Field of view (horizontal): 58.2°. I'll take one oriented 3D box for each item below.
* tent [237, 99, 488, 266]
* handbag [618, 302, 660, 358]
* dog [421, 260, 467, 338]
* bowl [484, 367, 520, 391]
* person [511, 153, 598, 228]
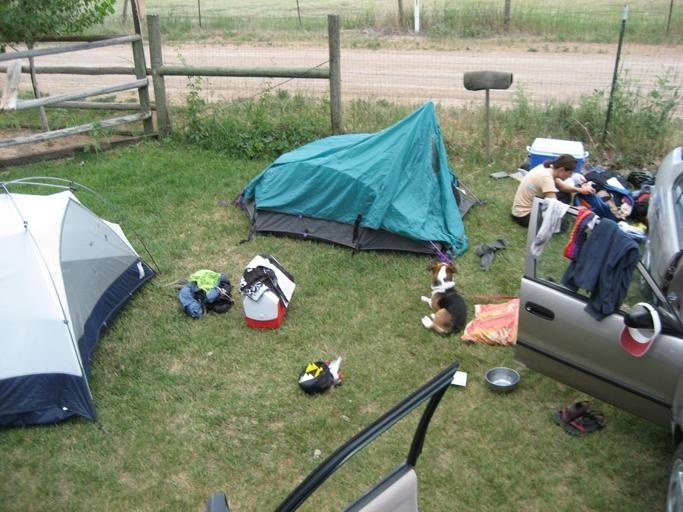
[{"bbox_3d":[0.388,-1.174,9.824,2.974,1.656,2.455,11,41,15],"label":"tent"},{"bbox_3d":[3.107,0.790,6.324,0.152,0.573,0.345,0,24,-43],"label":"handbag"},{"bbox_3d":[1.428,0.578,8.444,0.523,0.654,1.358,7,25,-5],"label":"dog"},{"bbox_3d":[1.951,1.500,7.418,0.395,0.162,0.337,9,26,22],"label":"bowl"},{"bbox_3d":[3.366,-0.985,9.614,1.250,1.147,0.606,1,26,26],"label":"person"}]
